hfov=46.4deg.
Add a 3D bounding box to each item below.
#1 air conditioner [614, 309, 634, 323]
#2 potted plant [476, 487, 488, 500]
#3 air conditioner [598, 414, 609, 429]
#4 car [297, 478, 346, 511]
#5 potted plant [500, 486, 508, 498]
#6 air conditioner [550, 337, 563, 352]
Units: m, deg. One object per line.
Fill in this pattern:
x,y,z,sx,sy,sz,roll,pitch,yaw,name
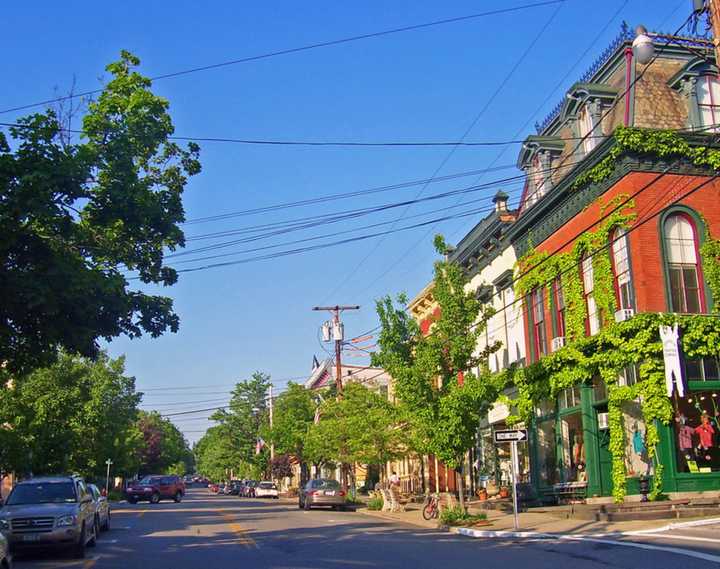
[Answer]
8.826,1.184,27.916,0.348,0.476,0.682,1,-6,-1,air conditioner
5.555,9.424,37.764,0.712,0.530,0.538,3,-21,-7,potted plant
8.659,4.836,29.739,0.233,0.572,0.487,12,-23,-27,air conditioner
-1.872,10.322,41.237,1.730,1.575,2.990,8,-22,-17,car
6.302,9.031,36.491,0.276,0.510,0.707,5,-21,-12,potted plant
7.444,2.346,31.638,0.403,0.575,0.747,1,-6,-9,air conditioner
